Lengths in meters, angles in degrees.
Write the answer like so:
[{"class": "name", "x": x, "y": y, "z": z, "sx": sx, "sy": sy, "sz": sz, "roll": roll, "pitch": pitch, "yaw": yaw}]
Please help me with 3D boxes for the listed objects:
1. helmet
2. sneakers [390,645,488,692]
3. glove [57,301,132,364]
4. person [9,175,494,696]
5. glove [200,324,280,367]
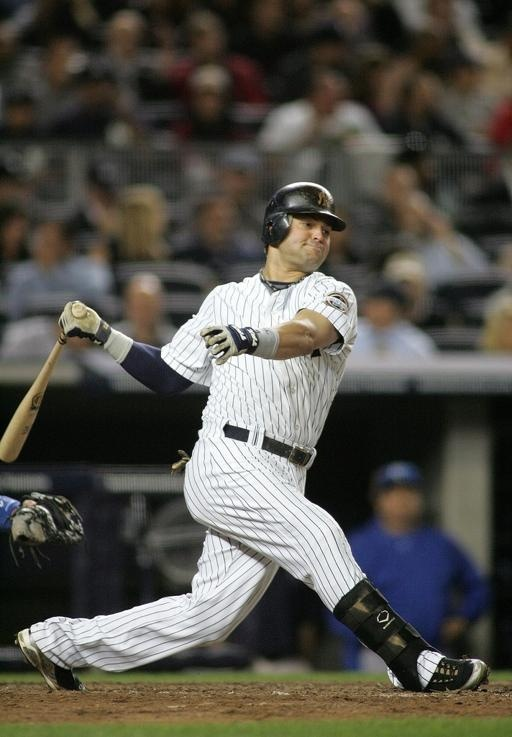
[{"class": "helmet", "x": 0.128, "y": -0.450, "z": 3.804, "sx": 0.242, "sy": 0.181, "sz": 0.196, "roll": -7, "pitch": -12, "yaw": 29}, {"class": "sneakers", "x": 0.490, "y": 0.814, "z": 3.462, "sx": 0.253, "sy": 0.105, "sz": 0.098, "roll": -5, "pitch": 39, "yaw": 13}, {"class": "glove", "x": -0.444, "y": -0.089, "z": 3.741, "sx": 0.098, "sy": 0.240, "sz": 0.128, "roll": -45, "pitch": 40, "yaw": 11}, {"class": "person", "x": 0.030, "y": 0.222, "z": 3.587, "sx": 1.201, "sy": 1.463, "sz": 0.708, "roll": 7, "pitch": 12, "yaw": 28}, {"class": "glove", "x": -0.039, "y": -0.058, "z": 3.276, "sx": 0.161, "sy": 0.099, "sz": 0.059, "roll": -8, "pitch": -25, "yaw": -38}]
